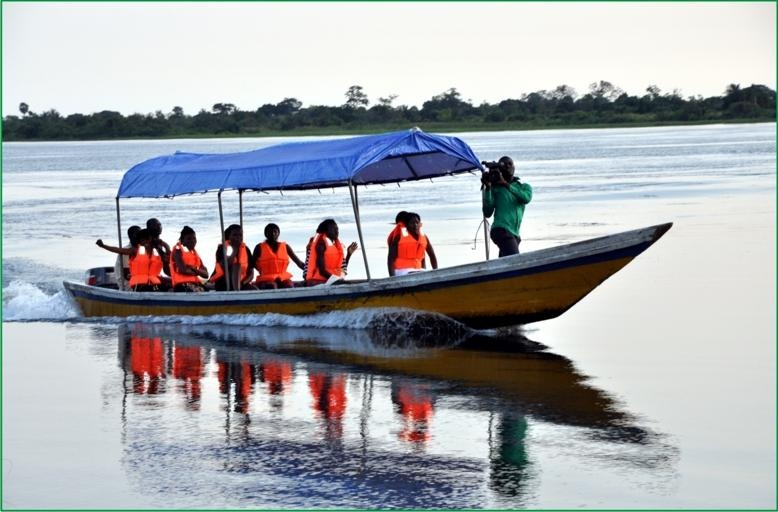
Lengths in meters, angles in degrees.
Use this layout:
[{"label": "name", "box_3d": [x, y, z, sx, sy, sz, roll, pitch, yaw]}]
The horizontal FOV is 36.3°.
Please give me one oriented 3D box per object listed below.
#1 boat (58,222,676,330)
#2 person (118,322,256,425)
[{"label": "boat", "box_3d": [-0.380, 0.464, 23.355, 11.515, 1.239, 1.991, -4, -10, 20]}, {"label": "person", "box_3d": [-3.542, 1.961, 19.827, 0.990, 0.635, 4.009, -4, 13, -32]}]
